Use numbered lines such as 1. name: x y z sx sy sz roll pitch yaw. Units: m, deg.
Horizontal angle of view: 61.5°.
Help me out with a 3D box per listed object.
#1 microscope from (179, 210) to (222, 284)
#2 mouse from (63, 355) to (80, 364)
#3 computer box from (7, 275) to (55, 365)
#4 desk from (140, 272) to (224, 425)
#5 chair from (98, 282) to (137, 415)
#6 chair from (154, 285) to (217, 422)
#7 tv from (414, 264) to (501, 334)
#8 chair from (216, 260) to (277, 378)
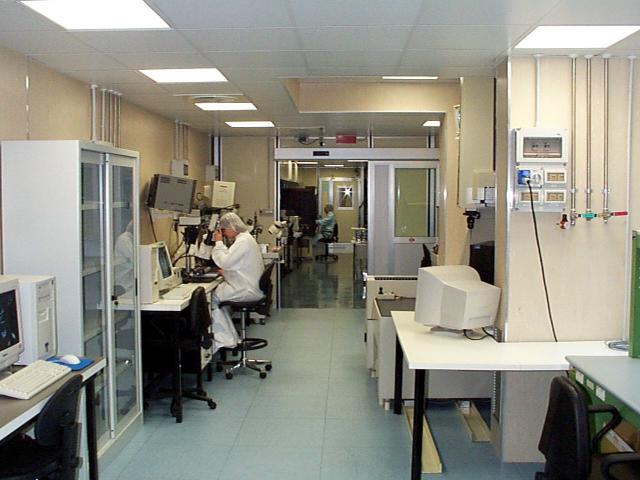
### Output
1. microscope: -1.345 0.063 6.023 0.427 0.776 0.484 3 4 -1
2. mouse: -1.518 0.718 3.269 0.085 0.023 0.056 6 1 15
3. computer box: -1.722 0.480 3.285 0.219 0.467 0.253 2 5 -5
4. desk: -1.515 0.856 5.116 1.039 1.135 1.666 -1 5 -6
5. chair: -1.556 0.818 4.195 0.231 0.862 0.284 4 4 1
6. chair: -1.157 0.950 4.777 0.600 1.029 0.594 4 4 -8
7. tv: 0.967 0.404 3.985 0.592 0.472 0.701 0 1 2
8. chair: -0.746 0.833 5.829 0.665 1.082 0.583 7 3 14
